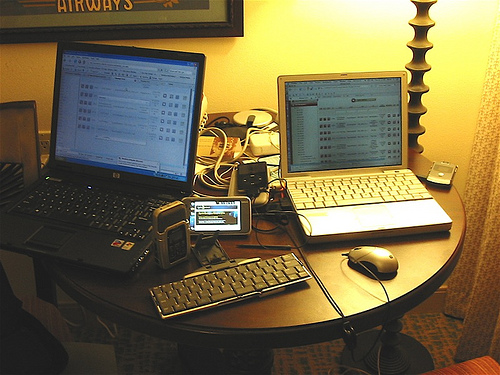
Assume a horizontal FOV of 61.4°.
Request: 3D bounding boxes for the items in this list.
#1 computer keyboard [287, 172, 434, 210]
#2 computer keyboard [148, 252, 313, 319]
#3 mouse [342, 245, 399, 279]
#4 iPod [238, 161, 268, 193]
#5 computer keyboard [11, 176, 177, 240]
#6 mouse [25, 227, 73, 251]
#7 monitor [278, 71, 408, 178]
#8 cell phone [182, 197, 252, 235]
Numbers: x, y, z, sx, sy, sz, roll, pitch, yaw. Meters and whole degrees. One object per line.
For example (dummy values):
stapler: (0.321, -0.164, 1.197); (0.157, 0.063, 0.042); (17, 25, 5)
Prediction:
computer keyboard: (0.322, -0.004, 1.267); (0.435, 0.025, 0.148); (-3, 46, -10)
computer keyboard: (-0.040, 0.221, 1.000); (0.364, 0.031, 0.094); (-11, 47, -17)
mouse: (0.309, 0.174, 1.057); (0.090, 0.044, 0.141); (-7, 12, -29)
iPod: (0.008, -0.031, 1.224); (0.088, 0.090, 0.042); (1, 18, -15)
computer keyboard: (-0.438, 0.054, 1.163); (0.386, 0.023, 0.152); (10, 33, 12)
mouse: (-0.512, 0.130, 1.080); (0.089, 0.036, 0.059); (8, 15, 15)
monitor: (0.275, -0.199, 1.281); (0.431, 0.247, 0.027); (-2, 8, -9)
cell phone: (-0.097, 0.076, 1.134); (0.218, 0.099, 0.027); (2, -5, -38)
